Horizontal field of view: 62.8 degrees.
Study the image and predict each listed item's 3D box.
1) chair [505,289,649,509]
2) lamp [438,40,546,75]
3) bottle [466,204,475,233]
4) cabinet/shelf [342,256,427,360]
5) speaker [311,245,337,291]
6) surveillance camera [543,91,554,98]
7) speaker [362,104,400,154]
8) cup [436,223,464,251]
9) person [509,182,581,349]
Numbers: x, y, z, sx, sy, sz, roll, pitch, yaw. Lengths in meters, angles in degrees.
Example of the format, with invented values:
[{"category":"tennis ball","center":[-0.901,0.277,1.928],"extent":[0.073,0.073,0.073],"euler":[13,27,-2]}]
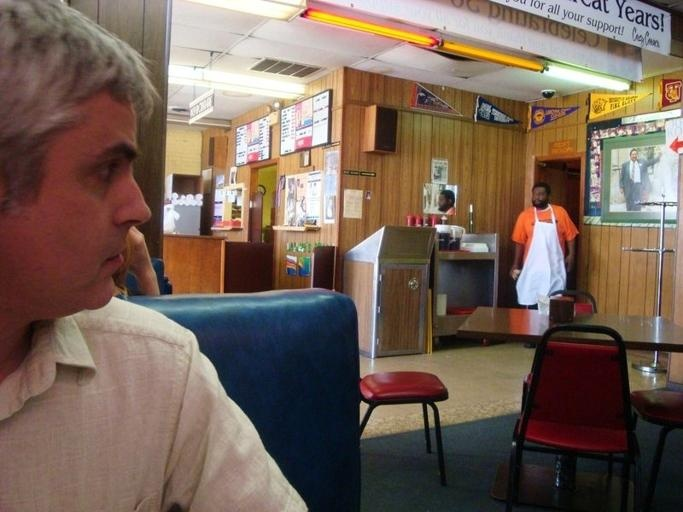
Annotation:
[{"category":"chair","center":[1.047,0.719,2.476],"extent":[0.520,0.922,0.593],"euler":[3,4,25]},{"category":"lamp","center":[1.346,-1.793,5.008],"extent":[1.333,0.114,0.172],"euler":[-1,5,-32]},{"category":"bottle","center":[1.755,-0.511,7.513],"extent":[0.099,0.386,0.292],"euler":[3,4,15]},{"category":"cabinet/shelf","center":[0.552,0.559,6.033],"extent":[0.872,1.289,0.862],"euler":[2,-3,-38]},{"category":"speaker","center":[-0.193,0.134,6.489],"extent":[0.175,0.500,0.378],"euler":[3,4,25]},{"category":"surveillance camera","center":[2.694,-2.109,7.268],"extent":[0.093,0.060,0.096],"euler":[1,1,42]},{"category":"speaker","center":[0.463,-1.498,6.587],"extent":[0.389,0.543,0.290],"euler":[2,3,-1]},{"category":"cup","center":[1.246,-0.214,6.380],"extent":[0.252,0.374,0.379],"euler":[1,-4,13]},{"category":"person","center":[2.508,0.136,6.878],"extent":[0.791,1.979,0.548],"euler":[-3,14,14]}]
